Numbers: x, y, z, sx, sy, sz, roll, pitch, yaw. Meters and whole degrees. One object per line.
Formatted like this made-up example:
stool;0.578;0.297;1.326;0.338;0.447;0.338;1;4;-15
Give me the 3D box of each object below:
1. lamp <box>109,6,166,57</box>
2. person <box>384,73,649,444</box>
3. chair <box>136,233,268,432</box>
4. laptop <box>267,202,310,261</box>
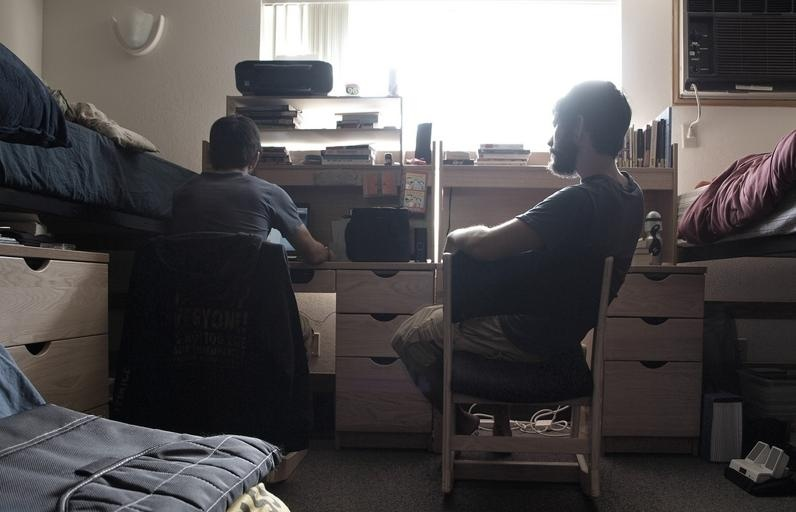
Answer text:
lamp;-1.820;-1.570;4.767;0.425;0.303;0.152;4;9;3
person;0.567;0.027;3.457;1.192;1.687;0.962;3;7;22
chair;-0.996;0.300;3.272;0.679;0.910;0.482;5;18;-16
laptop;-0.717;-0.149;4.347;0.414;0.360;0.309;0;3;0
